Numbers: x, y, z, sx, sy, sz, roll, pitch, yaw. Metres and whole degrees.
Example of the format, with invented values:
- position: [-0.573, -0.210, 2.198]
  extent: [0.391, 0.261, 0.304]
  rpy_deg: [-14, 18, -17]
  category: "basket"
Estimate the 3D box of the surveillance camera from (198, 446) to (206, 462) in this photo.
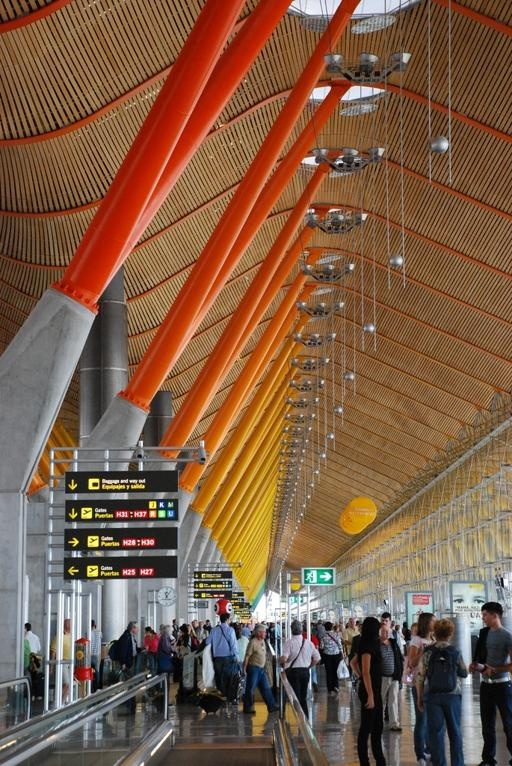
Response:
- position: [-0.946, 1.241, 12.304]
  extent: [0.176, 0.369, 0.124]
  rpy_deg: [0, -5, -3]
  category: "surveillance camera"

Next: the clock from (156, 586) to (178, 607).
- position: [-3.931, 9.307, 31.314]
  extent: [0.716, 0.735, 0.825]
  rpy_deg: [1, -18, -2]
  category: "clock"

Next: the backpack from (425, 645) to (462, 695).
- position: [1.550, 2.361, 5.837]
  extent: [0.267, 0.439, 0.253]
  rpy_deg: [1, -27, 15]
  category: "backpack"
